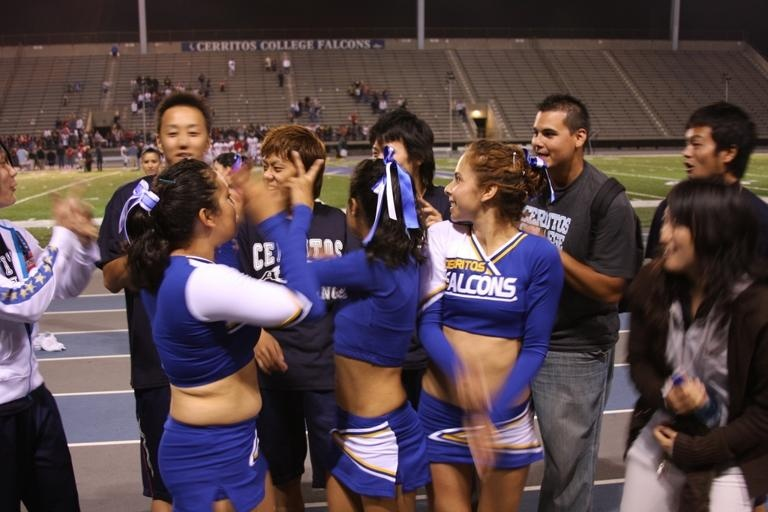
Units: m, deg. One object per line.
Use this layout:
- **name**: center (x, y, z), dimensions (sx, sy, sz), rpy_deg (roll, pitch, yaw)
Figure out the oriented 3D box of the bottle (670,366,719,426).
- **bottle**: center (1.775, 0.805, 3.882), dimensions (0.183, 0.334, 0.141), rpy_deg (-20, 5, 11)
